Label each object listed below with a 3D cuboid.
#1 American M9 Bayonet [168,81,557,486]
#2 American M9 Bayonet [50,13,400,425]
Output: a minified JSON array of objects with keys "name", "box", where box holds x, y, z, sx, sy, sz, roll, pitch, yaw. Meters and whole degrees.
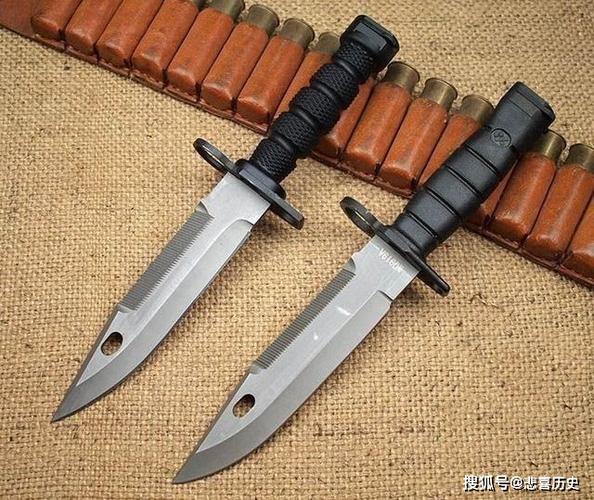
[{"name":"American M9 Bayonet","box":[0.170,0.081,1.712,0.301,0.915,0.486,44,18,32]},{"name":"American M9 Bayonet","box":[-0.071,-0.128,1.857,0.422,1.556,0.140,45,-12,14]}]
